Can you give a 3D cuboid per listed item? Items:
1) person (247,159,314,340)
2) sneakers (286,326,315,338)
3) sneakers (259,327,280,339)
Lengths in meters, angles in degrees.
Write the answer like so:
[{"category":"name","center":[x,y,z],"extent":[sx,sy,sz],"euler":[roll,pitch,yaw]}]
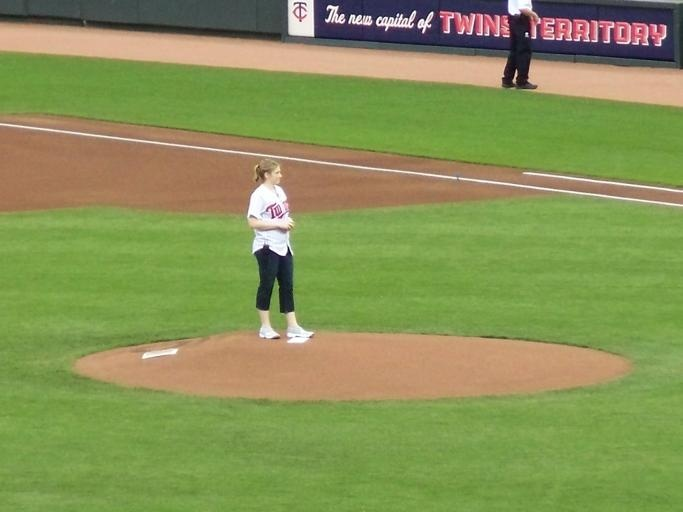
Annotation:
[{"category":"person","center":[-0.864,-0.079,22.675],"extent":[0.725,2.362,0.409],"euler":[0,12,-3]},{"category":"sneakers","center":[-0.552,1.028,22.842],"extent":[0.347,0.150,0.143],"euler":[0,3,-4]},{"category":"sneakers","center":[-0.952,1.039,22.782],"extent":[0.266,0.109,0.137],"euler":[1,2,44]}]
